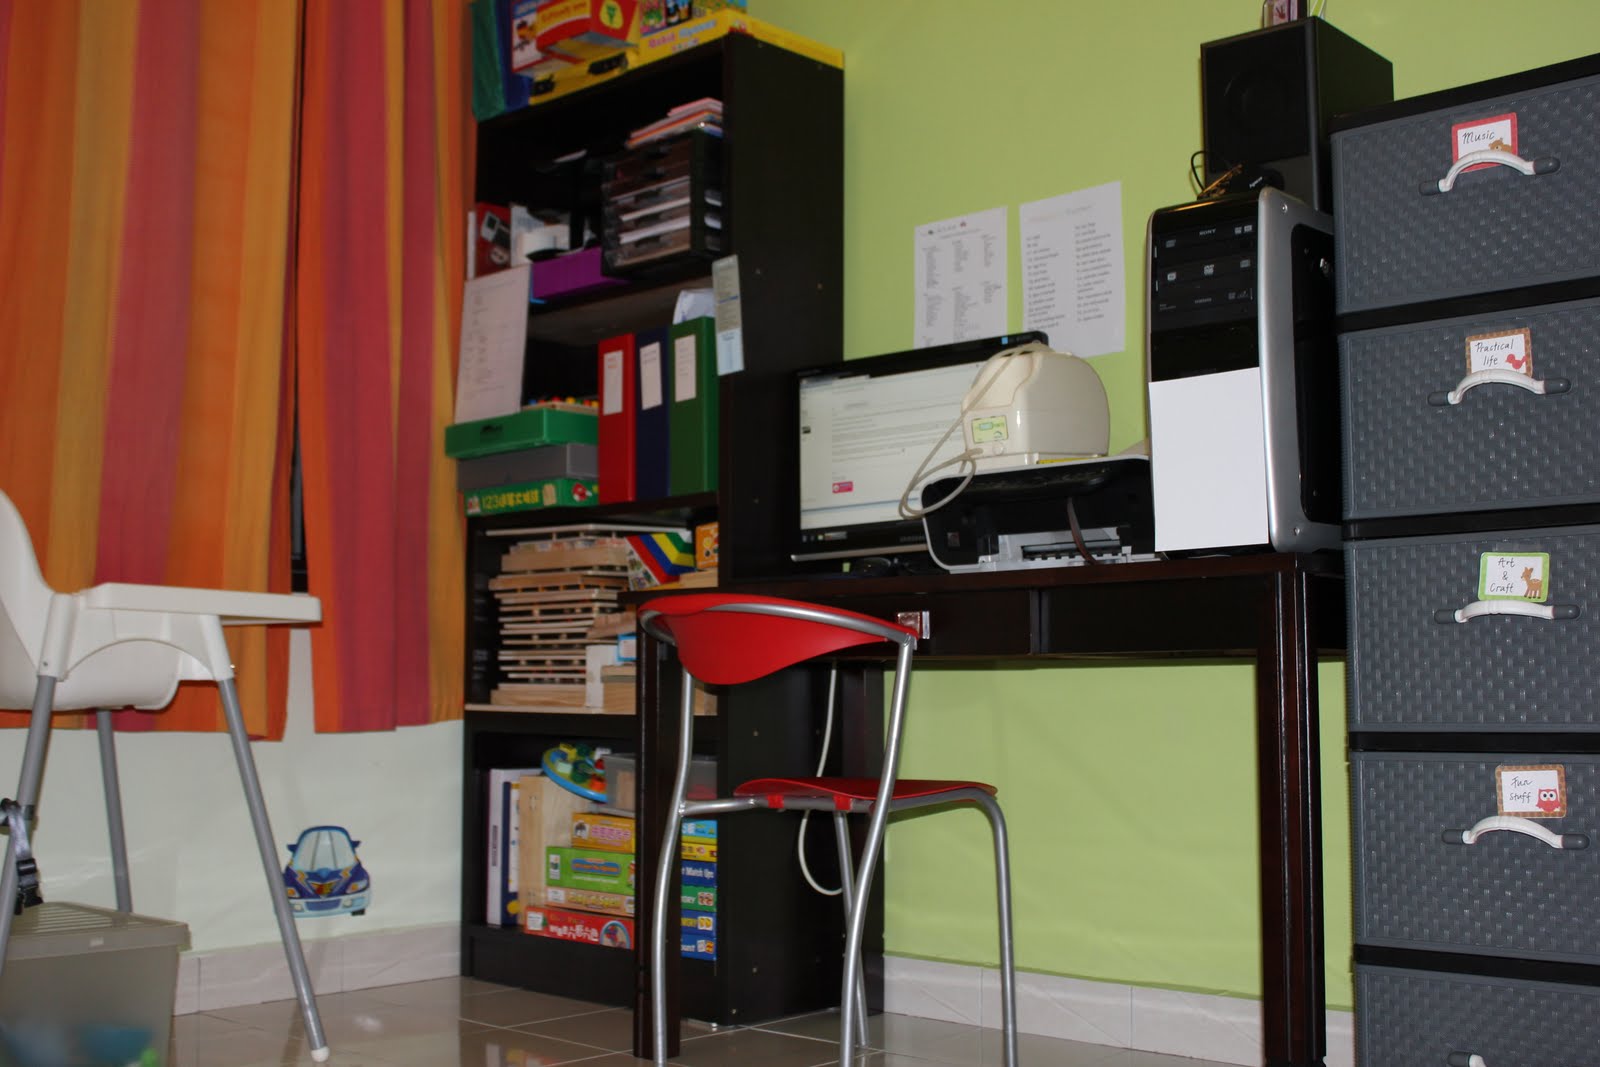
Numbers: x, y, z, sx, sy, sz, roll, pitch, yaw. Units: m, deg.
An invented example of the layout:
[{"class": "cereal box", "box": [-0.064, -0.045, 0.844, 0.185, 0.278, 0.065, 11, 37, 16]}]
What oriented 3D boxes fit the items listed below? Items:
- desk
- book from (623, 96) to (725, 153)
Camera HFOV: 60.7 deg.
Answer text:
[{"class": "desk", "box": [0.578, 0.636, 3.104, 1.046, 1.032, 0.442, -6, -10, 44]}, {"class": "book", "box": [-0.310, -1.124, 3.738, 0.175, 0.045, 0.178, -8, -2, -42]}]
